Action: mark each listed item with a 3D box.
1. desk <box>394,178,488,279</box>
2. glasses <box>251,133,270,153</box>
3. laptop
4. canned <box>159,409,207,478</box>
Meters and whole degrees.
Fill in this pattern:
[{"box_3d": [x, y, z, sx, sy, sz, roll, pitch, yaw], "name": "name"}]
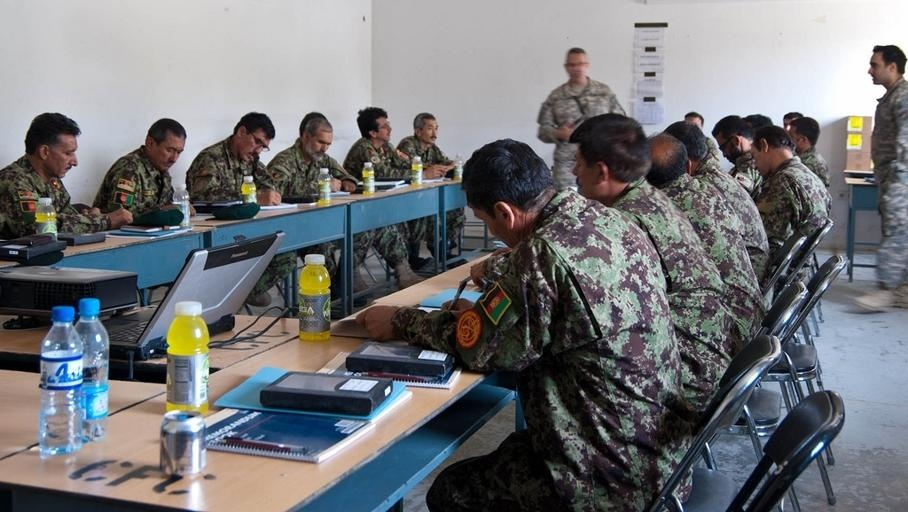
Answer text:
[{"box_3d": [-0.190, -0.260, 5.851, 0.386, 0.648, 1.066, 1, 12, 18], "name": "desk"}, {"box_3d": [-1.616, -0.947, 5.186, 0.136, 0.096, 0.172, 8, 7, -37], "name": "glasses"}, {"box_3d": [-1.007, 0.118, 2.413, 0.523, 0.323, 0.535, 6, 9, 20], "name": "laptop"}, {"box_3d": [-0.759, 0.515, 1.730, 0.124, 0.165, 0.099, -8, 17, -26], "name": "canned"}]
